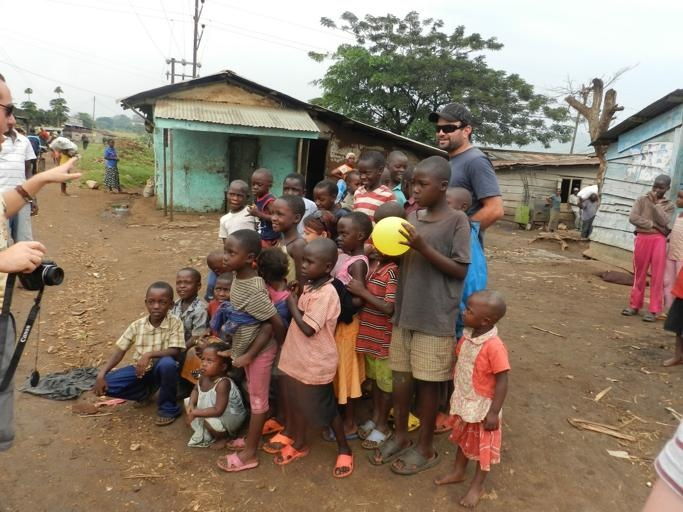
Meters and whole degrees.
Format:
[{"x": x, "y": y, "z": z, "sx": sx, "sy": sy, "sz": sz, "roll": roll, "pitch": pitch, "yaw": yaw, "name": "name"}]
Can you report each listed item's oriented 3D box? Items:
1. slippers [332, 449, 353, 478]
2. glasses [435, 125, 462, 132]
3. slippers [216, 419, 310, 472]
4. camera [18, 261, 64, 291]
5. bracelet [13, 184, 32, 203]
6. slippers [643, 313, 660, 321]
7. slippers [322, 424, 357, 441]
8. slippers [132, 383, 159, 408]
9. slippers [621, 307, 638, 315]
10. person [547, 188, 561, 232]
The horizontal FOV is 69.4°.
[{"x": 0.012, "y": 1.644, "z": 3.878, "sx": 0.121, "sy": 0.064, "sz": 0.207, "roll": -1, "pitch": 2, "yaw": 9, "name": "slippers"}, {"x": 0.954, "y": -1.125, "z": 4.360, "sx": 0.120, "sy": 0.027, "sz": 0.114, "roll": -1, "pitch": 2, "yaw": -42, "name": "glasses"}, {"x": -0.672, "y": 1.522, "z": 4.003, "sx": 0.577, "sy": 0.116, "sz": 0.393, "roll": 3, "pitch": -2, "yaw": -29, "name": "slippers"}, {"x": -2.114, "y": 0.140, "z": 3.503, "sx": 0.278, "sy": 0.168, "sz": 0.303, "roll": -2, "pitch": 11, "yaw": 3, "name": "camera"}, {"x": -2.316, "y": -0.455, "z": 3.609, "sx": 0.135, "sy": 0.034, "sz": 0.128, "roll": 36, "pitch": -23, "yaw": 0, "name": "bracelet"}, {"x": 4.792, "y": 0.922, "z": 7.470, "sx": 0.387, "sy": 0.115, "sz": 0.109, "roll": 4, "pitch": -4, "yaw": -11, "name": "slippers"}, {"x": -0.013, "y": 1.532, "z": 4.291, "sx": 0.337, "sy": 0.065, "sz": 0.147, "roll": 2, "pitch": 8, "yaw": -8, "name": "slippers"}, {"x": -1.885, "y": 1.329, "z": 4.728, "sx": 0.127, "sy": 0.270, "sz": 0.131, "roll": 14, "pitch": 8, "yaw": -4, "name": "slippers"}, {"x": 4.528, "y": 0.859, "z": 7.745, "sx": 0.303, "sy": 0.098, "sz": 0.103, "roll": 5, "pitch": 8, "yaw": 20, "name": "slippers"}, {"x": 8.356, "y": -1.800, "z": 19.193, "sx": 0.482, "sy": 1.459, "sz": 1.319, "roll": 8, "pitch": 15, "yaw": 21, "name": "person"}]
